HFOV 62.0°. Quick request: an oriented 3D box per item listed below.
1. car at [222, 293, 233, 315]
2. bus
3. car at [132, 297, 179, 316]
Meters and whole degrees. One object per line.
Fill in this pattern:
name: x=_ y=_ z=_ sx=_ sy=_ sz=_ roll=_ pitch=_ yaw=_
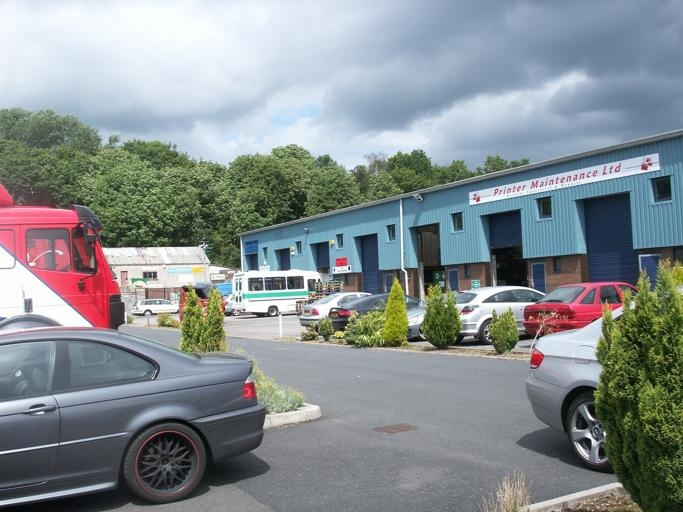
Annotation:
car: x=-8.583 y=3.674 z=43.245 sx=0.603 sy=1.214 sz=3.095 roll=-2 pitch=-2 yaw=-14
bus: x=-4.521 y=2.859 z=42.789 sx=6.628 sy=3.369 sz=3.036 roll=-1 pitch=-5 yaw=-29
car: x=-15.855 y=4.308 z=48.388 sx=2.649 sy=0.915 sz=1.212 roll=-3 pitch=1 yaw=-23
